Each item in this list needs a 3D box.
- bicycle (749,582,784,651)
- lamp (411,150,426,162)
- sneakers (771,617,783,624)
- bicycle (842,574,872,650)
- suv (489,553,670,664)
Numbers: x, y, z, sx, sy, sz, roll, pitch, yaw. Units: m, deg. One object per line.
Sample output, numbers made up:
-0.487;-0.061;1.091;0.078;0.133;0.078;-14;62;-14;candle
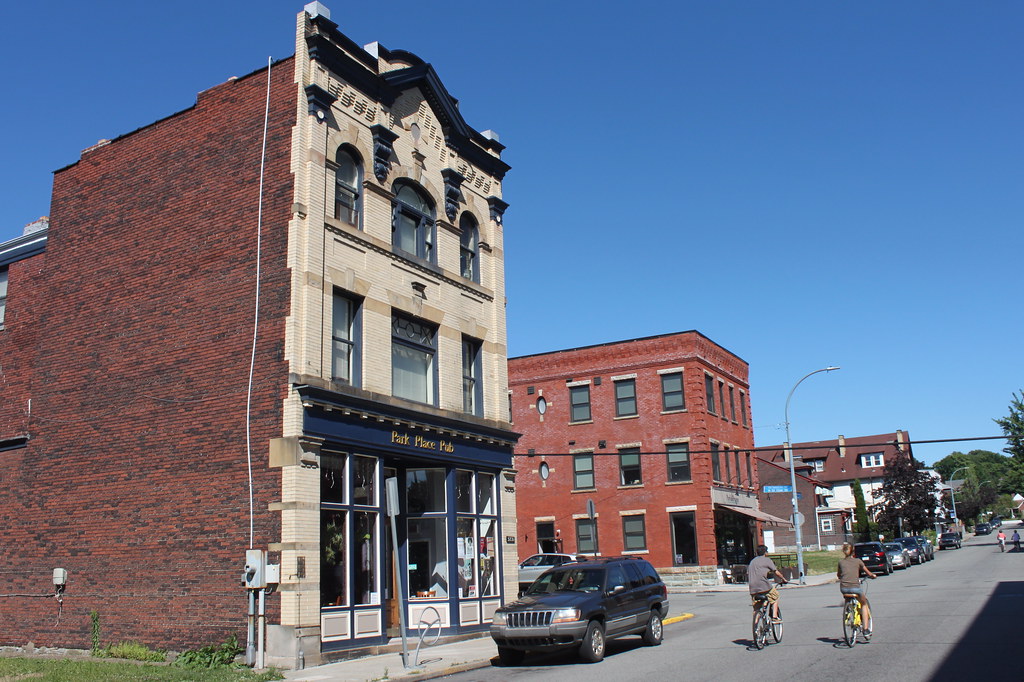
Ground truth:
6.834;7.578;25.455;0.479;1.404;1.386;-15;-22;28;bicycle
-3.160;-6.293;32.164;0.109;0.422;0.762;-15;-22;29;lamp
7.310;7.722;26.018;0.204;0.248;0.596;-3;-27;5;sneakers
9.042;7.242;24.895;0.944;1.547;0.367;6;-21;-27;bicycle
2.276;7.552;26.520;2.565;1.835;4.649;-14;-22;26;suv
